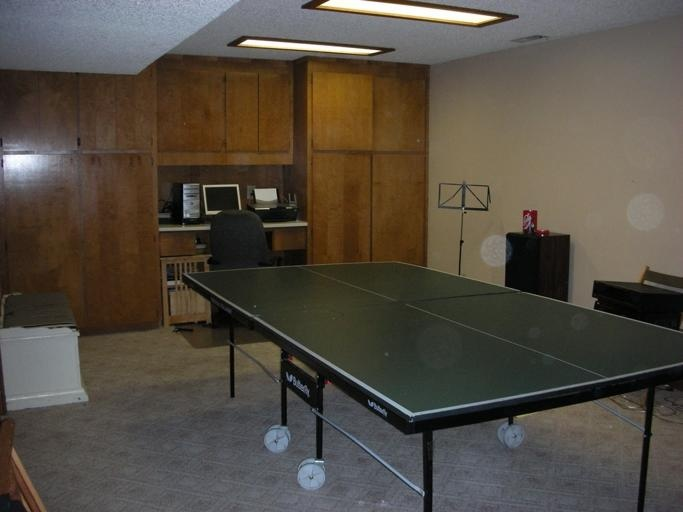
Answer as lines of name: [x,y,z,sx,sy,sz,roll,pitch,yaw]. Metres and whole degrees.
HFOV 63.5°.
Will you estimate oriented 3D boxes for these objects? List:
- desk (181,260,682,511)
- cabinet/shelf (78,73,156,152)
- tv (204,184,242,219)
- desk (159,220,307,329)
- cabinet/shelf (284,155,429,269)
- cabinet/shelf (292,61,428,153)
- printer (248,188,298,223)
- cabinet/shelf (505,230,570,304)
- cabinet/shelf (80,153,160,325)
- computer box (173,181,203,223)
desk: [0.434,0.643,3.243,1.730,0.641,2.402,-7,13,-31]
cabinet/shelf: [-2.477,-1.550,5.765,0.465,0.798,0.856,21,23,29]
tv: [-1.398,-0.635,6.446,0.508,0.427,0.052,-3,-5,-18]
desk: [-1.117,0.172,6.485,1.747,1.120,0.573,-3,9,-7]
cabinet/shelf: [0.282,-0.617,7.446,1.708,1.574,0.692,-3,7,-17]
cabinet/shelf: [0.287,-1.933,7.273,1.767,1.098,0.594,-6,15,-27]
printer: [-0.853,-0.622,6.829,0.493,0.371,0.487,-3,10,-23]
cabinet/shelf: [1.942,0.104,5.398,0.435,0.853,0.602,-7,11,-33]
cabinet/shelf: [-2.333,-0.174,5.804,0.763,1.771,0.277,-3,12,-14]
computer box: [-1.784,-0.600,6.303,0.331,0.439,0.296,-1,11,-3]
